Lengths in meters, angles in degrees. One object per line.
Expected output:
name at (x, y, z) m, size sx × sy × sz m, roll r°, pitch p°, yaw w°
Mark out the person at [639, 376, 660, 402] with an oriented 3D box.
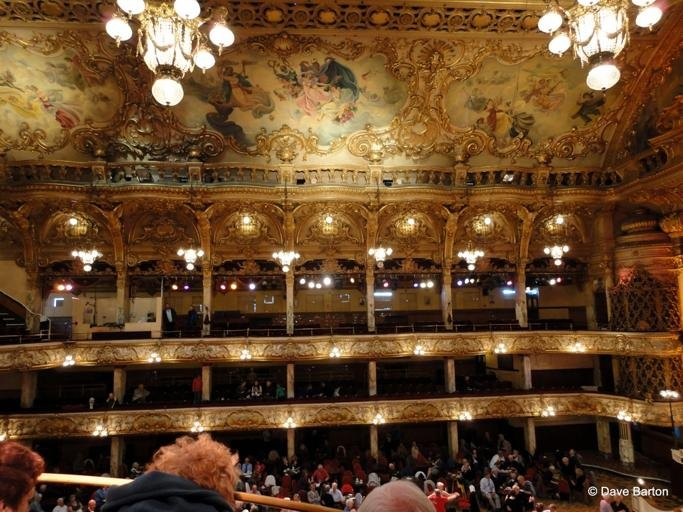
person at (13.952, 6.048, 27.968) m, size 0.320 × 0.909 × 0.977 m, roll 11°, pitch -21°, yaw -30°
